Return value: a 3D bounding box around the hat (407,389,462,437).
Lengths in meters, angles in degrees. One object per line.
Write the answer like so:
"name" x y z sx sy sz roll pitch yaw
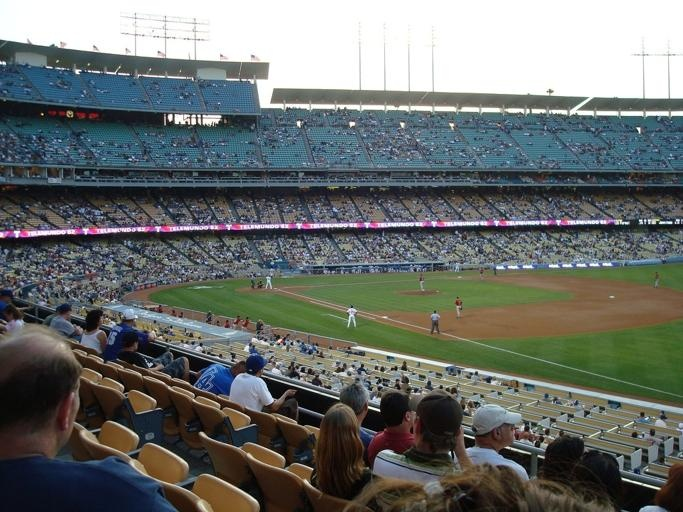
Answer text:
"hat" 0.780 1.263 4.938 0.359 0.177 0.392 0 17 -11

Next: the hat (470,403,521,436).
"hat" 1.470 1.580 5.730 0.456 0.296 0.255 8 -9 -7

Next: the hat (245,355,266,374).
"hat" -1.232 1.520 8.493 0.269 0.154 0.308 8 28 19
